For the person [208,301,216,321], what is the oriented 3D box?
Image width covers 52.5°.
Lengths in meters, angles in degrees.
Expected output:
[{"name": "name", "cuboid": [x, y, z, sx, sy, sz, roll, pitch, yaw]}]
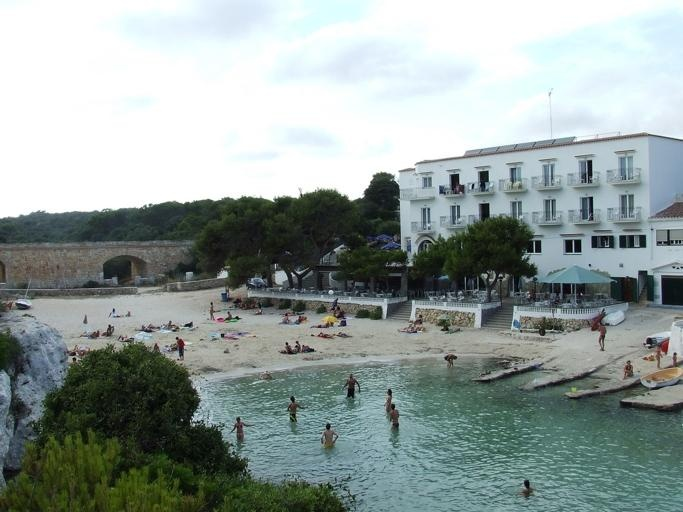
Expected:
[{"name": "person", "cuboid": [-14.510, 6.113, 77.203, 0.934, 2.724, 1.179, 2, 4, 10]}]

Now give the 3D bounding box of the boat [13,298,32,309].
[{"name": "boat", "cuboid": [-38.266, 5.644, 83.001, 1.692, 1.165, 4.571, -8, 11, -29]}]

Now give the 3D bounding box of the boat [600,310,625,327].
[{"name": "boat", "cuboid": [22.165, 5.066, 56.418, 1.437, 0.735, 2.193, 5, 12, 38]}]

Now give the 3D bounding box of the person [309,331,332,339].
[{"name": "person", "cuboid": [-1.668, 6.807, 59.467, 1.166, 0.304, 0.691, 3, 4, 39]}]

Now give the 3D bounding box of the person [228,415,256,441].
[{"name": "person", "cuboid": [-5.469, 9.415, 37.761, 1.119, 1.521, 0.494, 0, 25, -3]}]

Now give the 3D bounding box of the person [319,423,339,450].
[{"name": "person", "cuboid": [-0.679, 9.247, 36.059, 0.809, 1.168, 0.868, -3, 9, -2]}]

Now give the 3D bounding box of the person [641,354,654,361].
[{"name": "person", "cuboid": [20.475, 6.747, 46.169, 0.654, 0.335, 1.049, -1, 9, 8]}]

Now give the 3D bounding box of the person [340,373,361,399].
[{"name": "person", "cuboid": [0.675, 7.923, 43.246, 1.013, 1.495, 2.065, -2, 9, 0]}]
